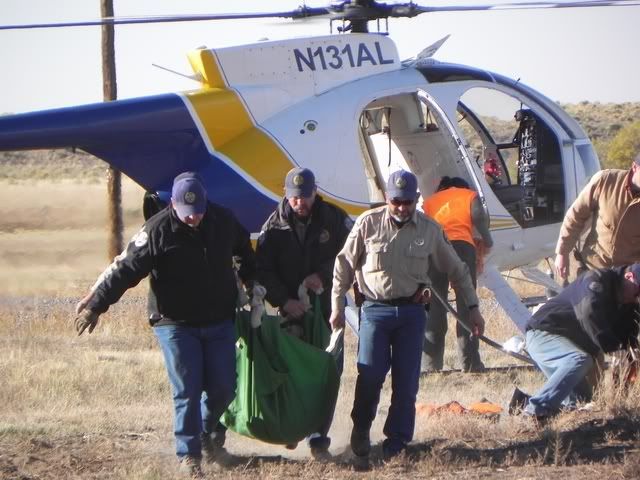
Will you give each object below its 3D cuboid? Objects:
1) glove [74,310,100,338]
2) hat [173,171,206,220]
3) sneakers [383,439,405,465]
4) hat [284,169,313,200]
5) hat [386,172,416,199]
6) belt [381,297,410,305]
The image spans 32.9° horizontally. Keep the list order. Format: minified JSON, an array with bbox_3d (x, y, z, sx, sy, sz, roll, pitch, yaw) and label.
[{"bbox_3d":[-2.223,0.820,10.341,0.222,0.301,0.336,-7,14,-25],"label":"glove"},{"bbox_3d":[-1.254,-0.407,10.405,0.320,0.398,0.326,-2,13,-7],"label":"hat"},{"bbox_3d":[0.719,2.071,10.568,0.225,0.176,0.166,0,13,3],"label":"sneakers"},{"bbox_3d":[-0.198,-0.540,10.682,0.285,0.294,0.197,-1,12,1],"label":"hat"},{"bbox_3d":[0.786,-0.526,10.498,0.286,0.273,0.167,-1,12,1],"label":"hat"},{"bbox_3d":[0.737,0.615,10.573,0.321,0.098,0.049,-1,12,0],"label":"belt"}]
